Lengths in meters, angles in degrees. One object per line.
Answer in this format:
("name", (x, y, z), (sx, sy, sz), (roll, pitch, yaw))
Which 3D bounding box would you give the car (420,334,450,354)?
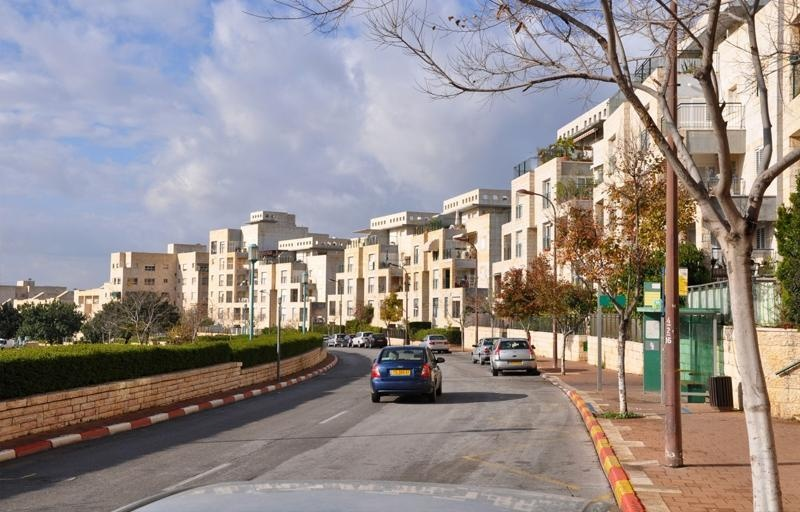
("car", (2.854, 6.939, 61.420), (1.499, 1.247, 3.616), (0, -1, -3))

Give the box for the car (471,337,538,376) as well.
("car", (5.278, 4.893, 38.611), (1.549, 1.298, 3.778), (0, -3, -1))

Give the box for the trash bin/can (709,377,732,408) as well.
("trash bin/can", (9.669, 4.154, 23.914), (0.682, 0.894, 0.658), (2, -8, -7))

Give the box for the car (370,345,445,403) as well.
("car", (0.128, 4.043, 26.825), (2.236, 1.980, 1.084), (-2, -8, -10))
